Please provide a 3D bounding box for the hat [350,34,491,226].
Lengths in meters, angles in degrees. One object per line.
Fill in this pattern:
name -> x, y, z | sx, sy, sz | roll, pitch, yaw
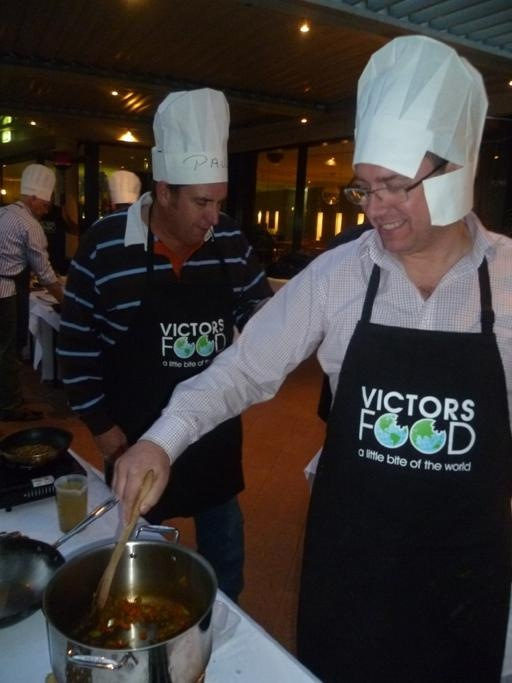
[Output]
hat -> 0.319, -0.403, 1.016 | 0.252, 0.363, 0.174 | 2, 7, 9

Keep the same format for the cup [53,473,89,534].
cup -> -0.403, 0.363, 1.175 | 0.075, 0.105, 0.088 | 0, -2, 45

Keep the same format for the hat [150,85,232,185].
hat -> -0.198, -0.636, 1.669 | 0.237, 0.268, 0.279 | -4, 12, -22
